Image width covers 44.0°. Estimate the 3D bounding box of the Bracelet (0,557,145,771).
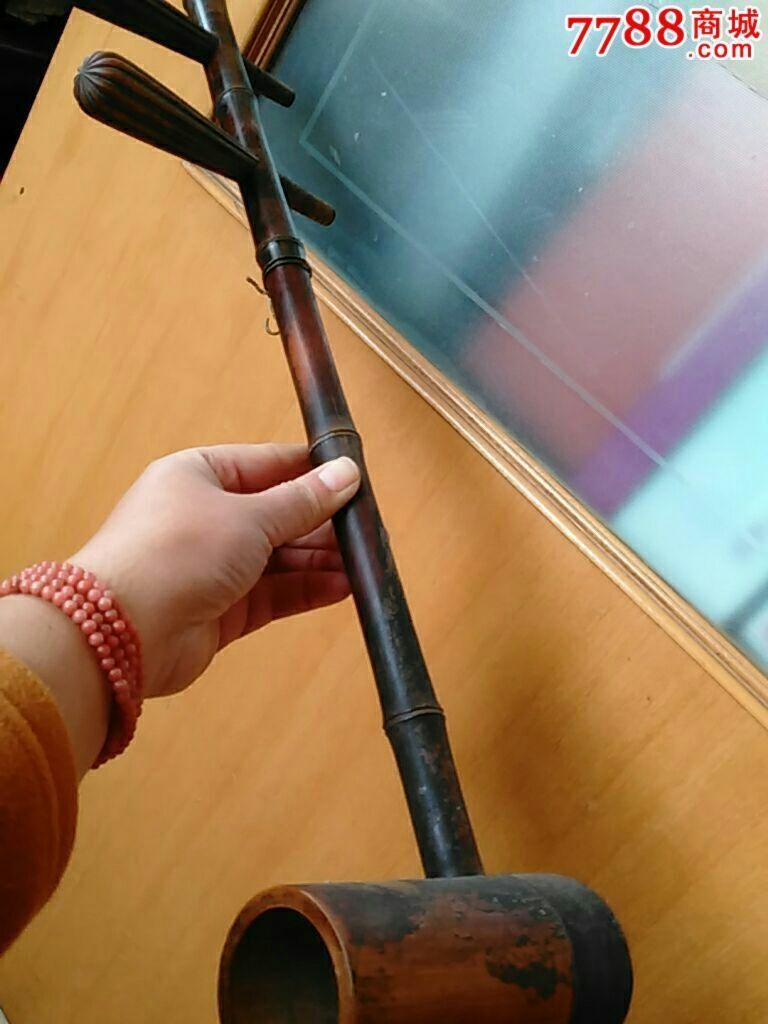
[{"bbox_3d":[-0.181,0.076,0.506,0.034,0.087,0.106,-34,49,13],"label":"Bracelet"}]
